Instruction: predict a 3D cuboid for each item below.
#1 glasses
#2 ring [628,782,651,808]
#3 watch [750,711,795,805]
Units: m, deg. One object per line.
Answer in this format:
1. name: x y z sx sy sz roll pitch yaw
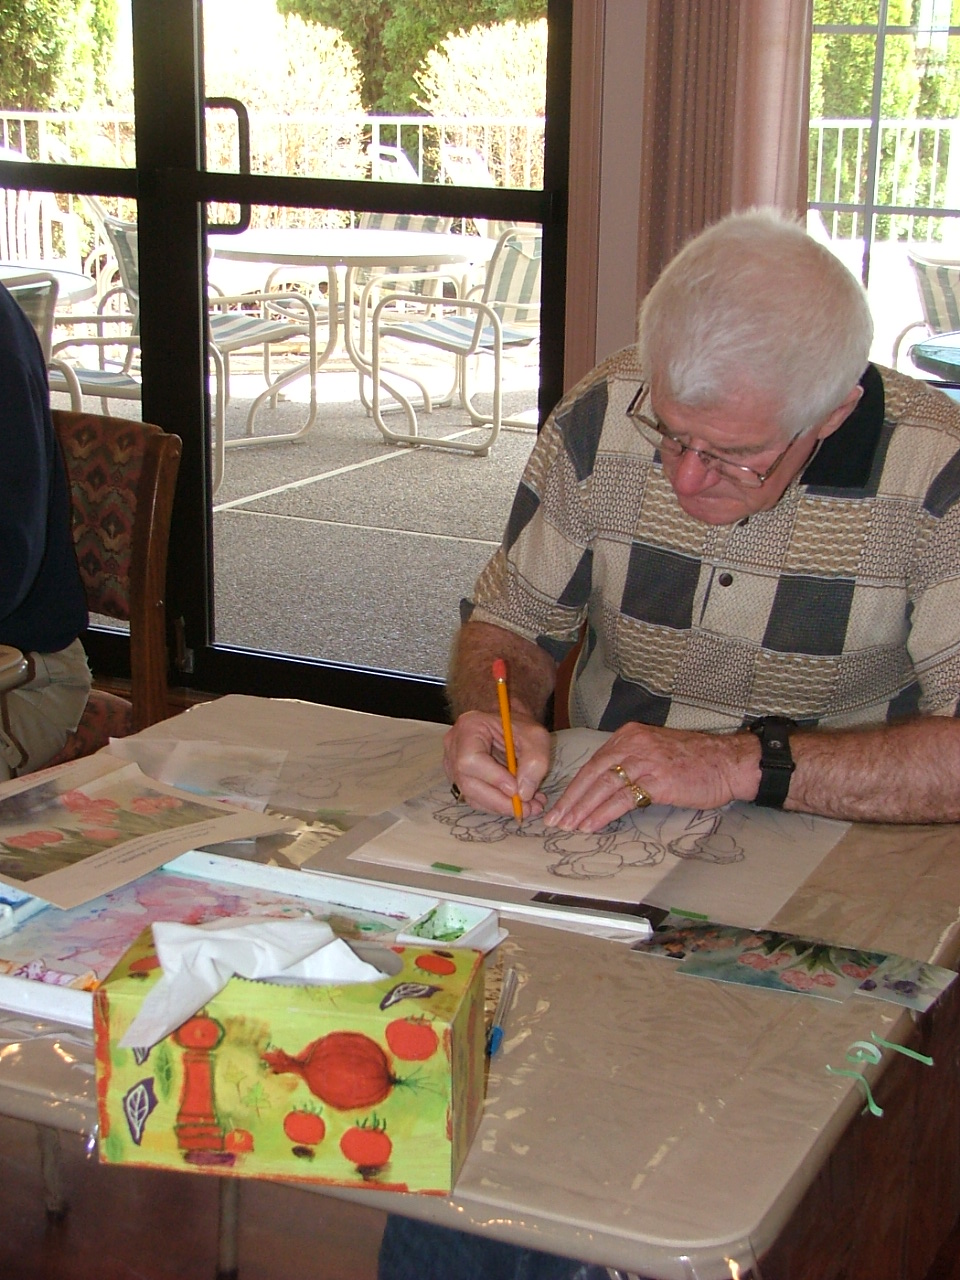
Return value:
1. glasses: 0.221 -0.193 1.058 0.158 0.041 0.159 18 -12 29
2. ring: 0.142 0.140 0.967 0.017 0.008 0.020 9 39 -26
3. watch: 0.275 0.122 1.044 0.053 0.079 0.080 2 15 9
